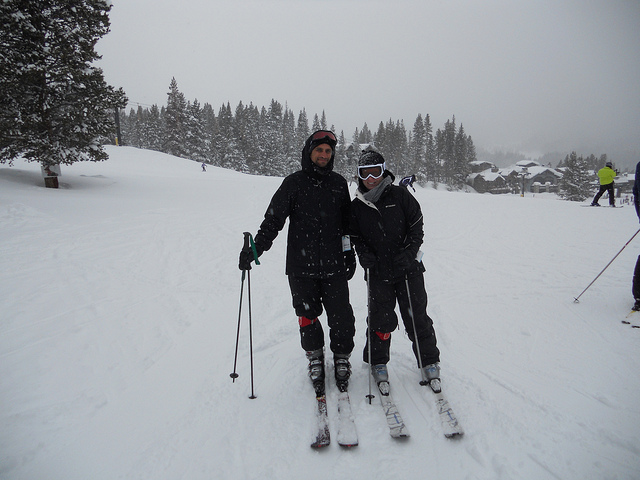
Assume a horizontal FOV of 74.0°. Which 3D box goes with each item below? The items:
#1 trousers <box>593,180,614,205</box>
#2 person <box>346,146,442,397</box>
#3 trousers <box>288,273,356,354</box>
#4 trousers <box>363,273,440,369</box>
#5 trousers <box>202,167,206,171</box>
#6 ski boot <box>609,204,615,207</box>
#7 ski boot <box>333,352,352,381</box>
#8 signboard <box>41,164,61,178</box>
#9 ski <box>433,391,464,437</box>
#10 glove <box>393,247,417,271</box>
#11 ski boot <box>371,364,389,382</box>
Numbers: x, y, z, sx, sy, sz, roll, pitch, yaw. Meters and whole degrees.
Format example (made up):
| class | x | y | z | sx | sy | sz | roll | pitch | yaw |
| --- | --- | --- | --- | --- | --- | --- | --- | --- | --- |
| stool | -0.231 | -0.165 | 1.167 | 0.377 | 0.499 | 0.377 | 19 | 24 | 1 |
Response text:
| class | x | y | z | sx | sy | sz | roll | pitch | yaw |
| --- | --- | --- | --- | --- | --- | --- | --- | --- | --- |
| trousers | 11.056 | -1.781 | 16.453 | 0.648 | 1.010 | 1.600 | 6 | 17 | 35 |
| person | 1.144 | 0.471 | 6.653 | 1.359 | 3.685 | 1.134 | -2 | 12 | 4 |
| trousers | 0.046 | 1.246 | 6.863 | 0.893 | 0.655 | 1.997 | -8 | 25 | 3 |
| trousers | 1.375 | 1.277 | 7.139 | 1.060 | 0.592 | 2.694 | -12 | 25 | 14 |
| trousers | -8.173 | -4.993 | 30.193 | 0.120 | 0.261 | 0.455 | -5 | 14 | -13 |
| ski boot | 11.611 | -1.346 | 16.846 | 0.095 | 0.062 | 0.150 | -4 | -1 | -13 |
| ski boot | 0.392 | 2.006 | 6.722 | 0.297 | 0.427 | 0.306 | -4 | 13 | -4 |
| signboard | -8.612 | -2.205 | 13.647 | 0.078 | 0.454 | 0.543 | 6 | 12 | 39 |
| ski | 1.882 | 2.560 | 6.305 | 0.248 | 0.060 | 0.883 | -12 | 20 | 5 |
| glove | 1.311 | 0.313 | 6.563 | 0.149 | 0.354 | 0.282 | 32 | 28 | -39 |
| ski boot | 0.960 | 2.071 | 6.616 | 0.138 | 0.163 | 0.338 | -3 | -2 | -5 |
